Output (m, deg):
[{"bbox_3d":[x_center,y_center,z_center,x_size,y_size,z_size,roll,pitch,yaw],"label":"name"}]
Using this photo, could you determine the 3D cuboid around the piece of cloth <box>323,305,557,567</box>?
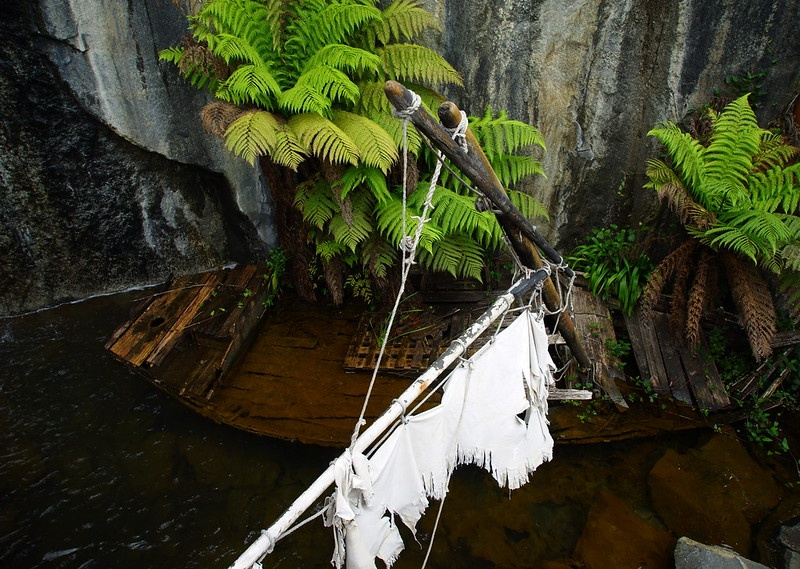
[{"bbox_3d":[0.420,1.488,4.517,0.490,1.473,2.424,27,65,40],"label":"piece of cloth"}]
